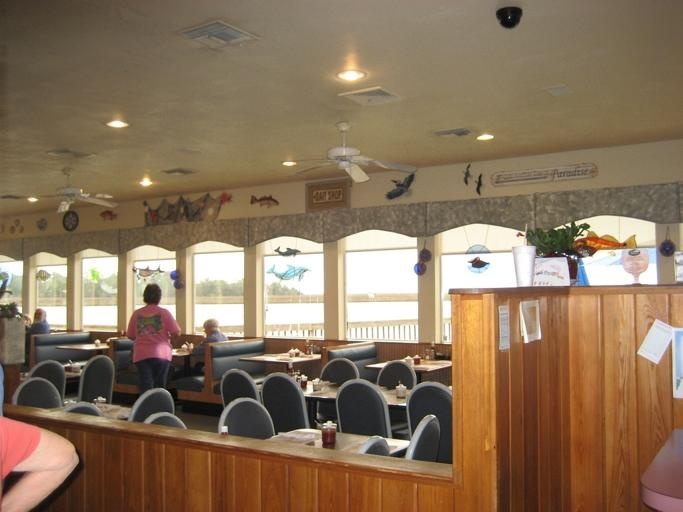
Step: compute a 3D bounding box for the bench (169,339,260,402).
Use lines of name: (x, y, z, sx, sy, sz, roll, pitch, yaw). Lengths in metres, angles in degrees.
bench: (-1.730, 1.575, 8.720, 0.891, 0.753, 1.191, 2, -1, 37)

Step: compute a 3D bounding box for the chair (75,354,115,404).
chair: (-2.847, 1.434, 7.103, 0.367, 0.535, 0.403, 3, -7, -23)

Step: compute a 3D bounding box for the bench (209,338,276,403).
bench: (-1.433, 1.744, 8.590, 0.608, 0.810, 1.184, -6, -8, 36)

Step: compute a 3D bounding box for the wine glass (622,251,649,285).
wine glass: (1.705, 0.068, 3.566, 0.130, 0.212, 0.309, -3, -8, 25)

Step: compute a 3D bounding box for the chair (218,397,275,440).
chair: (-0.661, 1.124, 4.279, 0.291, 0.413, 0.315, 3, -14, -16)

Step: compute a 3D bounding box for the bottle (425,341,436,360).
bottle: (1.170, 1.268, 8.099, 0.124, 0.190, 0.135, 0, -7, 0)

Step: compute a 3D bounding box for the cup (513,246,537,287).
cup: (0.928, 0.053, 3.065, 0.211, 0.213, 0.091, 6, -9, -41)

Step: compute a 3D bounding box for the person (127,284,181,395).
person: (-2.408, 1.071, 7.844, 0.720, 1.387, 0.565, -6, -9, 43)

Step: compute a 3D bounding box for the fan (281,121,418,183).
fan: (0.083, -1.046, 5.948, 1.069, 0.392, 1.058, -12, 19, -30)

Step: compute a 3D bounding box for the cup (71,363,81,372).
cup: (-3.365, 1.416, 7.748, 0.123, 0.119, 0.090, 1, -2, 5)

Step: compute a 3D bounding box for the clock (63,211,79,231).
clock: (-5.149, -0.658, 11.629, 0.476, 0.401, 0.115, -5, -8, 37)

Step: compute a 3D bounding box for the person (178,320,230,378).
person: (-2.044, 1.361, 8.920, 0.530, 0.905, 0.452, 15, -1, 15)

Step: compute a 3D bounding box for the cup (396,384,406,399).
cup: (0.559, 1.290, 5.819, 0.096, 0.103, 0.095, 1, -7, 0)

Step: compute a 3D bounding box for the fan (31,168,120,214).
fan: (-3.422, -0.859, 7.676, 0.727, 0.306, 0.749, -2, -2, 28)
